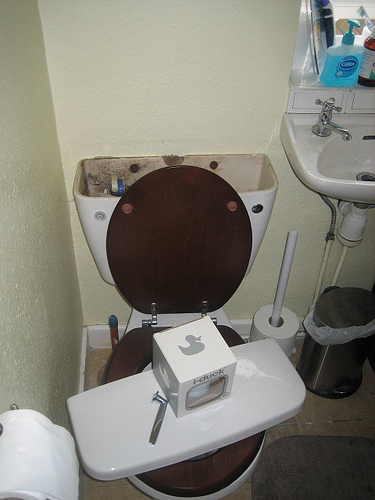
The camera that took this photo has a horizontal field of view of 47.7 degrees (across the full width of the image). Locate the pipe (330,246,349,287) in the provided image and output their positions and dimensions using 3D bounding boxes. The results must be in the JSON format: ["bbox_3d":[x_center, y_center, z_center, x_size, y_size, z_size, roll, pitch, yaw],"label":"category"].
[{"bbox_3d":[0.500,0.056,1.399,0.022,0.155,0.022,-28,55,-29],"label":"pipe"}]

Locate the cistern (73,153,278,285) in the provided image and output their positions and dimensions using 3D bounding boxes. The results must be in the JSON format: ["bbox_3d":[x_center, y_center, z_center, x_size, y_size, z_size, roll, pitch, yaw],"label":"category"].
[{"bbox_3d":[-0.023,-0.085,1.129,0.530,0.384,0.287,-4,33,-16],"label":"cistern"}]
